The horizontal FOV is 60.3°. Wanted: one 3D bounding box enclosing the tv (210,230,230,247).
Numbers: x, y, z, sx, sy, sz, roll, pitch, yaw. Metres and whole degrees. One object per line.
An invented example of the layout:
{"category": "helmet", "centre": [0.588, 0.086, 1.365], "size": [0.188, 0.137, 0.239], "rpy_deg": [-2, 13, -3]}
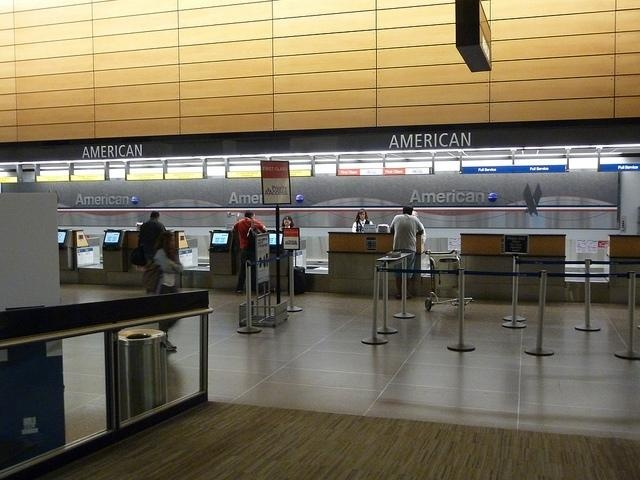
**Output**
{"category": "tv", "centre": [-2.609, -0.042, 14.443], "size": [0.418, 0.335, 0.202], "rpy_deg": [-1, -23, 9]}

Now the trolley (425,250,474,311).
{"category": "trolley", "centre": [2.622, 0.769, 11.099], "size": [0.979, 1.167, 1.296], "rpy_deg": [-4, 1, -6]}

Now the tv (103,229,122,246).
{"category": "tv", "centre": [-5.702, -0.066, 15.184], "size": [0.505, 0.438, 0.261], "rpy_deg": [1, -6, 8]}

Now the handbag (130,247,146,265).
{"category": "handbag", "centre": [-3.216, 0.279, 9.761], "size": [0.241, 0.339, 0.361], "rpy_deg": [-2, 8, -14]}

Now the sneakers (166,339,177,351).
{"category": "sneakers", "centre": [-1.625, 1.161, 6.031], "size": [0.151, 0.096, 0.061], "rpy_deg": [-1, 2, 14]}

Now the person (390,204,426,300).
{"category": "person", "centre": [1.958, 0.293, 12.431], "size": [0.704, 2.084, 1.327], "rpy_deg": [1, 8, 8]}
